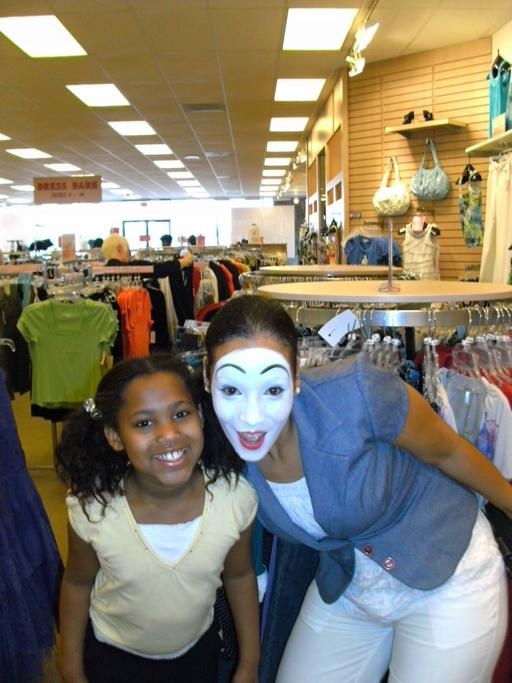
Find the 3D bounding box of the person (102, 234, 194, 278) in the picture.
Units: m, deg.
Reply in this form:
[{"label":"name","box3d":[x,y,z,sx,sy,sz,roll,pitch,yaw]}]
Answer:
[{"label":"person","box3d":[-1.185,-0.857,5.038,0.738,0.313,0.598,3,10,4]}]

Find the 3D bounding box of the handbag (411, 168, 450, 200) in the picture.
[{"label":"handbag","box3d":[1.978,-1.771,5.518,0.278,0.333,0.159,7,18,31]}]
